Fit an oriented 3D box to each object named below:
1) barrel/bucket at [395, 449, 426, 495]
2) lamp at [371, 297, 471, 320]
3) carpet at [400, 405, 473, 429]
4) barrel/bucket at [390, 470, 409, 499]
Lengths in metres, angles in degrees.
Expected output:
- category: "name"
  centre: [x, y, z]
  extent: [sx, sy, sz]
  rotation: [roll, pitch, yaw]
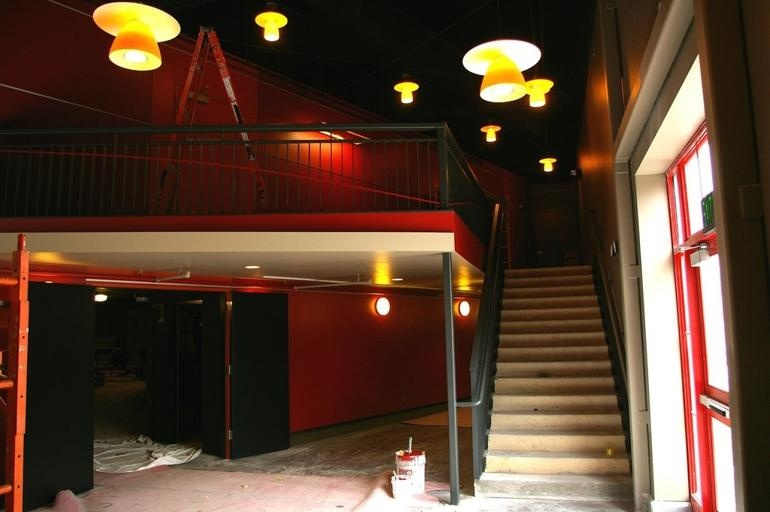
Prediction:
- category: "barrel/bucket"
  centre: [0.341, 2.795, 7.708]
  extent: [0.411, 0.460, 0.419]
  rotation: [1, -9, 0]
- category: "lamp"
  centre: [0.951, 1.210, 13.808]
  extent: [0.131, 0.612, 3.646]
  rotation: [-3, -3, 39]
- category: "carpet"
  centre: [1.110, 3.407, 12.538]
  extent: [1.371, 0.332, 2.901]
  rotation: [-1, -3, 5]
- category: "barrel/bucket"
  centre: [0.197, 2.910, 7.501]
  extent: [0.210, 0.280, 0.283]
  rotation: [-1, -9, 3]
